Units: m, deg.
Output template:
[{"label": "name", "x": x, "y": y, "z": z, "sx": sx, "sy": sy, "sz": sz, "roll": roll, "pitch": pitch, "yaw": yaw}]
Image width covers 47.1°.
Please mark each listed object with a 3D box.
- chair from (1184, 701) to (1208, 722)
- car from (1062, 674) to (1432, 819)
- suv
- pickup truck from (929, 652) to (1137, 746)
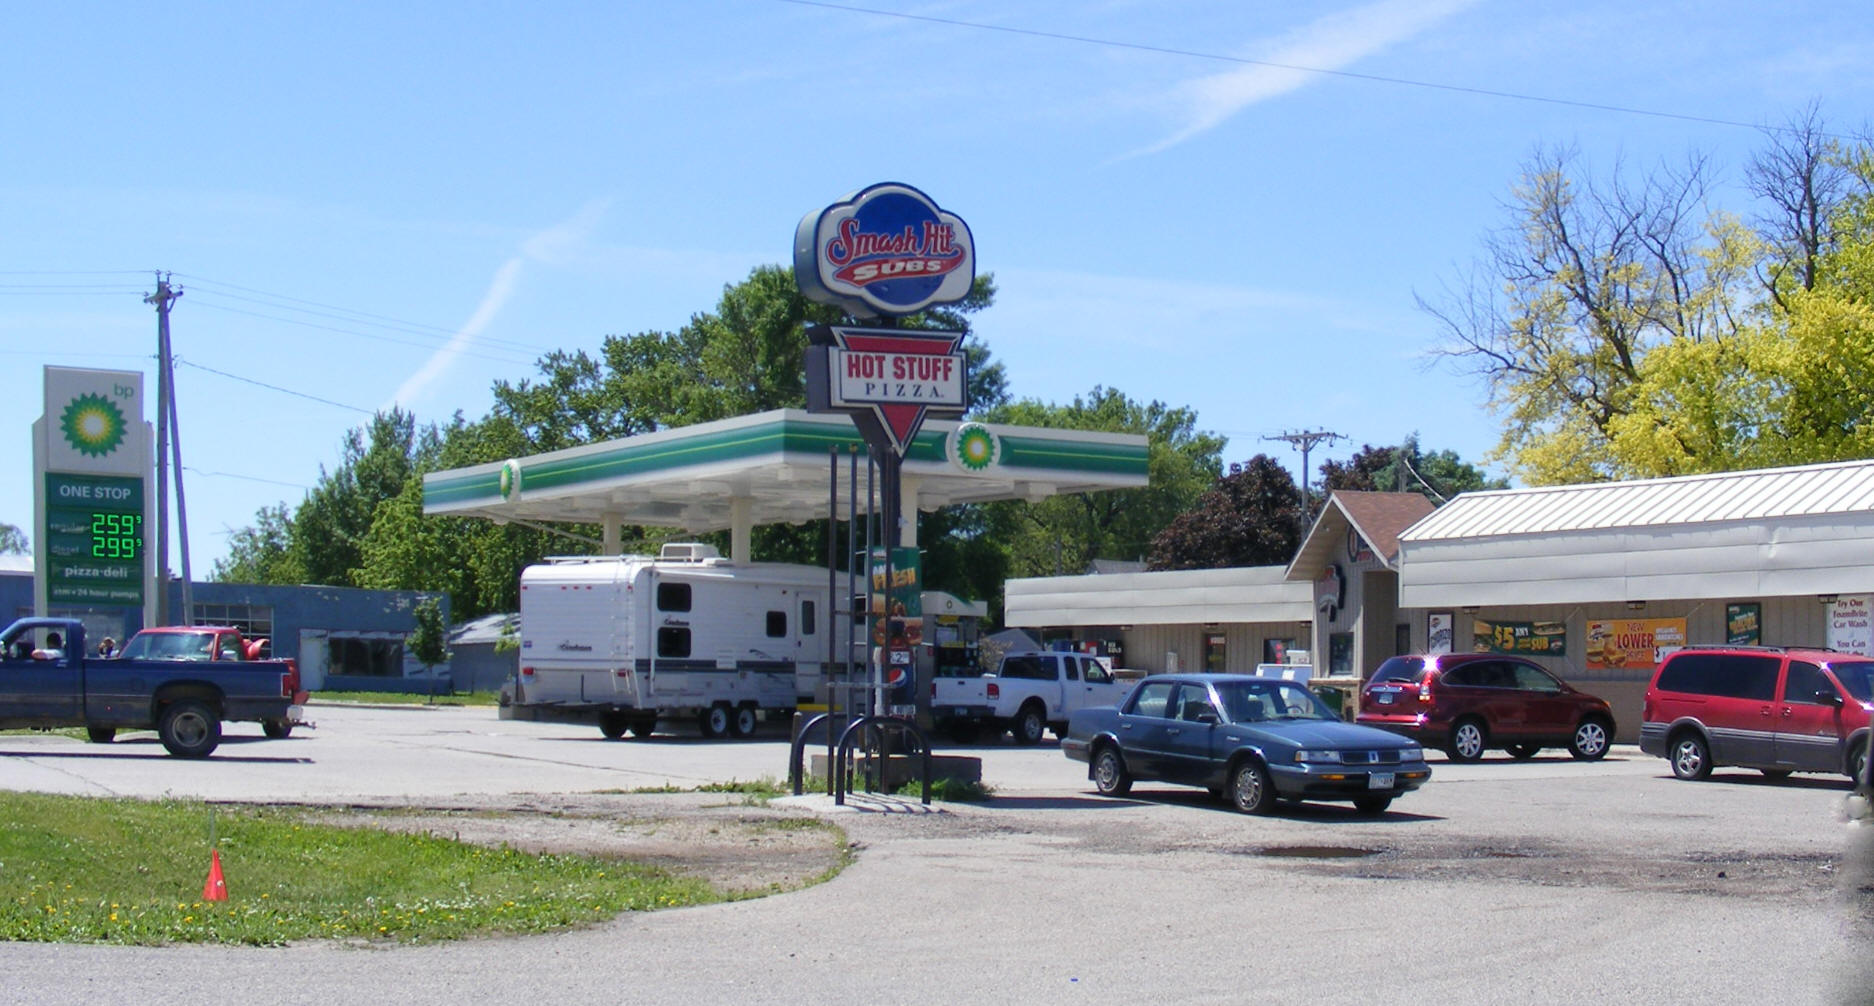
[{"label": "chair", "x": 5.225, "y": 4.132, "z": 43.332, "sx": 0.396, "sy": 0.376, "sz": 0.406, "roll": 3, "pitch": 0, "yaw": 35}, {"label": "car", "x": 6.123, "y": 4.783, "z": 43.539, "sx": 6.374, "sy": 2.700, "sz": 1.875, "roll": -3, "pitch": -7, "yaw": 36}, {"label": "suv", "x": 13.586, "y": 4.904, "z": 52.909, "sx": 6.587, "sy": 2.516, "sz": 3.314, "roll": 2, "pitch": -1, "yaw": -26}, {"label": "pickup truck", "x": 1.621, "y": 5.579, "z": 59.005, "sx": 3.687, "sy": 2.983, "sz": 7.895, "roll": 0, "pitch": -2, "yaw": -35}]
